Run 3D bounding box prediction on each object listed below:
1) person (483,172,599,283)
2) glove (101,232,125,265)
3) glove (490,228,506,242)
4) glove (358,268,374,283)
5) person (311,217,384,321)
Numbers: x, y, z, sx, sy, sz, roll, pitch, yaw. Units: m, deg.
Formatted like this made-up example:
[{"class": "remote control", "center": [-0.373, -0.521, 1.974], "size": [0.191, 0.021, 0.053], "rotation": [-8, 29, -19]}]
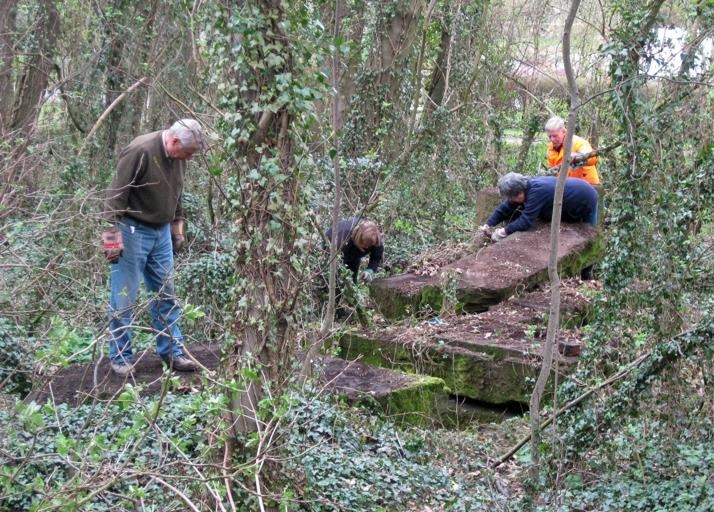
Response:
[{"class": "person", "center": [3.111, -0.618, 11.510], "size": [1.915, 0.866, 1.446], "rotation": [-16, 9, -30]}, {"class": "glove", "center": [-2.476, -0.082, 7.127], "size": [0.196, 0.314, 0.105], "rotation": [2, 5, -20]}, {"class": "glove", "center": [2.340, -0.354, 11.529], "size": [0.212, 0.175, 0.231], "rotation": [11, -20, 7]}, {"class": "glove", "center": [0.135, 0.289, 10.246], "size": [0.183, 0.194, 0.192], "rotation": [-3, 3, 24]}, {"class": "person", "center": [-0.134, 0.196, 9.157], "size": [0.674, 1.469, 1.040], "rotation": [-10, 33, -16]}]
